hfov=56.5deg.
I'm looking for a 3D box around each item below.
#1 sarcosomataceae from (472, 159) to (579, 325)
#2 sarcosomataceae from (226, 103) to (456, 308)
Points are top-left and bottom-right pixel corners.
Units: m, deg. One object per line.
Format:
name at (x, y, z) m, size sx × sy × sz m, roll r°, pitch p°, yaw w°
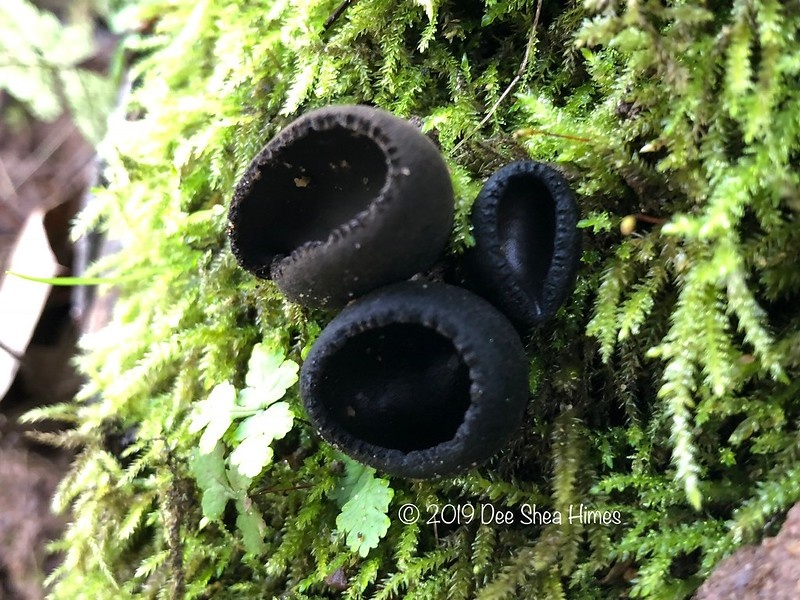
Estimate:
sarcosomataceae at (0.338, -0.153, 2.038) m, size 0.309 × 0.172 × 0.440 m, roll 4°, pitch 97°, yaw 1°
sarcosomataceae at (-0.182, -0.241, 2.059) m, size 0.583 × 0.307 × 0.548 m, roll -10°, pitch 84°, yaw 15°
